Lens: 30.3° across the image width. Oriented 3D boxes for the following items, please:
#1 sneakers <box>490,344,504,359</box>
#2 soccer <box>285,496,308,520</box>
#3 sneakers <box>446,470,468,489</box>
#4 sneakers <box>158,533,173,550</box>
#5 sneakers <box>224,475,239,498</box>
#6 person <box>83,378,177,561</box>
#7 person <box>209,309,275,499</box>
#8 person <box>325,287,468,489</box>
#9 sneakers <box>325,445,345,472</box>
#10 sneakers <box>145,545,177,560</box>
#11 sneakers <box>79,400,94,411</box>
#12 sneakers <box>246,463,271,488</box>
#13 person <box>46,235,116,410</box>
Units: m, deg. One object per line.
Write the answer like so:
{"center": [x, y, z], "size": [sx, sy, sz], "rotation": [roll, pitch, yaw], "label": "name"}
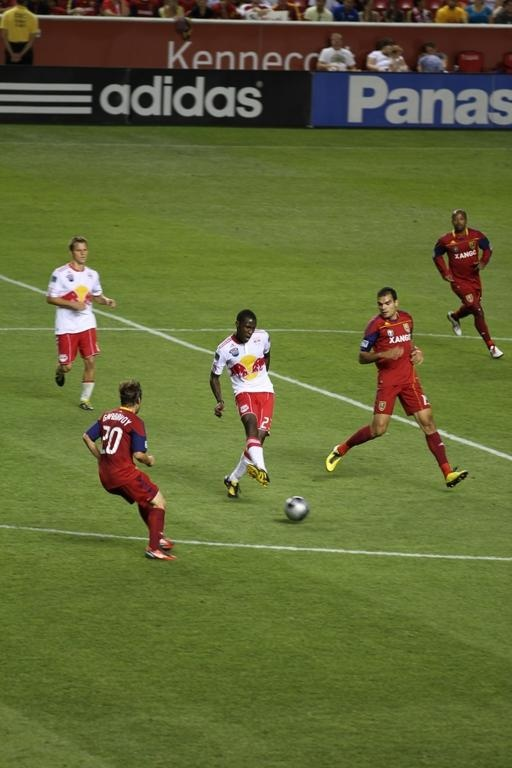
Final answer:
{"center": [3.980, -0.563, 15.724], "size": [0.148, 0.165, 0.385], "rotation": [-38, 1, 2], "label": "sneakers"}
{"center": [0.374, 1.116, 8.434], "size": [0.177, 0.229, 0.143], "rotation": [-5, 8, -41], "label": "soccer"}
{"center": [1.995, 0.945, 9.482], "size": [0.268, 0.144, 0.101], "rotation": [-34, 13, 42], "label": "sneakers"}
{"center": [-0.698, 1.274, 7.644], "size": [0.148, 0.043, 0.142], "rotation": [7, 9, 13], "label": "sneakers"}
{"center": [-0.217, 1.009, 9.379], "size": [0.111, 0.107, 0.274], "rotation": [-3, 7, -16], "label": "sneakers"}
{"center": [-0.950, 0.683, 7.320], "size": [0.656, 1.418, 0.556], "rotation": [0, 7, -5], "label": "person"}
{"center": [-0.118, 0.225, 9.006], "size": [0.591, 1.857, 1.166], "rotation": [0, 6, 0], "label": "person"}
{"center": [1.387, 0.015, 9.455], "size": [1.278, 1.960, 0.555], "rotation": [1, 7, 2], "label": "person"}
{"center": [0.864, 0.802, 10.198], "size": [0.135, 0.320, 0.152], "rotation": [30, -6, -27], "label": "sneakers"}
{"center": [-0.754, 1.318, 7.391], "size": [0.302, 0.102, 0.096], "rotation": [2, 6, 2], "label": "sneakers"}
{"center": [-2.184, 0.273, 12.455], "size": [0.091, 0.083, 0.217], "rotation": [-6, 6, -37], "label": "sneakers"}
{"center": [0.029, 0.810, 8.545], "size": [0.175, 0.233, 0.278], "rotation": [0, 6, 0], "label": "sneakers"}
{"center": [-2.305, -0.788, 12.504], "size": [0.756, 2.244, 1.118], "rotation": [-1, 7, -11], "label": "person"}
